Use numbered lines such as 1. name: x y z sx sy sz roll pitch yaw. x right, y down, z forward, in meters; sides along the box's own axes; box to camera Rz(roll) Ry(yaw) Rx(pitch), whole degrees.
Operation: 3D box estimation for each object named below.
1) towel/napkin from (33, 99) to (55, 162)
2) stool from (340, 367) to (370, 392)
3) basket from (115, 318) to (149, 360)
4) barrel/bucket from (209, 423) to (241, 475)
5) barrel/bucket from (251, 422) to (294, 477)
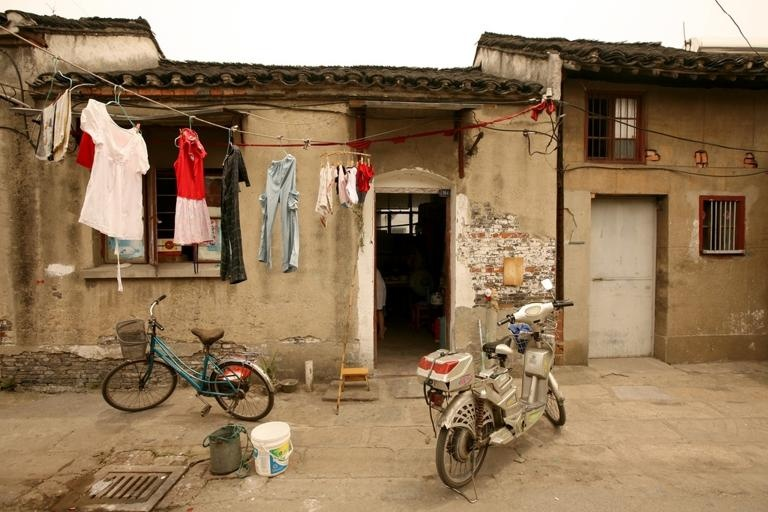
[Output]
1. towel/napkin: -5.680 -2.062 13.592 0.476 0.918 0.191 -1 -1 44
2. stool: -0.542 2.189 14.677 0.553 0.403 0.545 0 -2 -6
3. basket: -4.357 1.417 14.004 0.568 0.481 0.669 -1 9 -20
4. barrel/bucket: -2.501 3.024 12.727 0.523 0.734 0.334 0 -1 -16
5. barrel/bucket: -1.734 3.008 12.866 0.687 0.742 0.767 0 1 14
